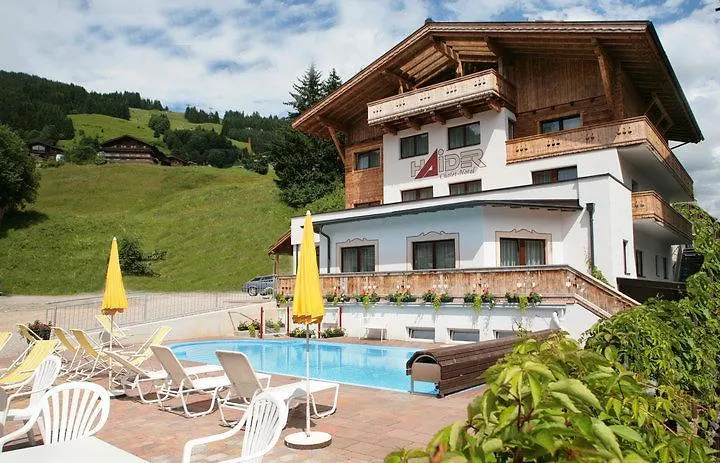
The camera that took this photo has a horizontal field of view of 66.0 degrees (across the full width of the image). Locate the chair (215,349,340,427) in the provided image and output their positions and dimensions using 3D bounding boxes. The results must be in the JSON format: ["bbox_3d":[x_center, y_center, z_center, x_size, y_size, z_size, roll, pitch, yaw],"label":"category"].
[{"bbox_3d":[-2.352,4.791,17.831,2.034,2.493,3.942,-3,-3,44],"label":"chair"}]
